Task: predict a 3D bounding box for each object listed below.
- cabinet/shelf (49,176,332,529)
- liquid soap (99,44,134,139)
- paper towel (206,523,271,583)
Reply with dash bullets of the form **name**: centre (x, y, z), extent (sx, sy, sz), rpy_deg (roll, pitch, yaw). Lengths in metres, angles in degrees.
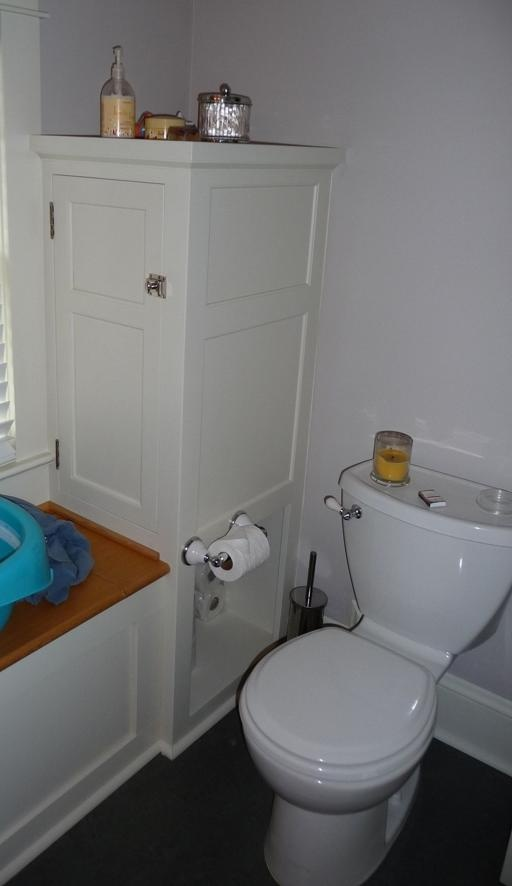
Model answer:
- **cabinet/shelf**: centre (-0.136, -0.219, 1.397), extent (0.476, 1.278, 0.318), rpy_deg (19, 24, 38)
- **liquid soap**: centre (-0.265, -0.667, 1.234), extent (0.056, 0.167, 0.058), rpy_deg (7, 13, 18)
- **paper towel**: centre (-0.037, 0.218, 1.346), extent (0.125, 0.104, 0.053), rpy_deg (-27, 22, -32)
